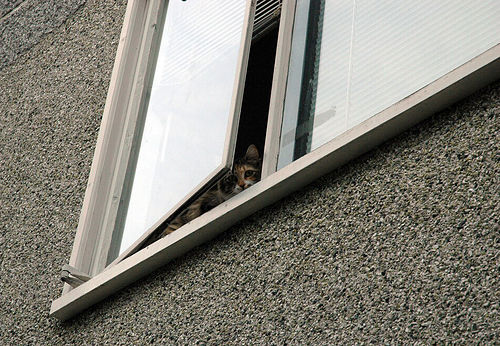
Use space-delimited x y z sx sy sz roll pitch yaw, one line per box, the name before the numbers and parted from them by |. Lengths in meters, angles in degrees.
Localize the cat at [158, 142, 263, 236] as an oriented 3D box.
cat | -0.068 -0.002 3.687 0.161 0.284 0.555 -10 16 -11
